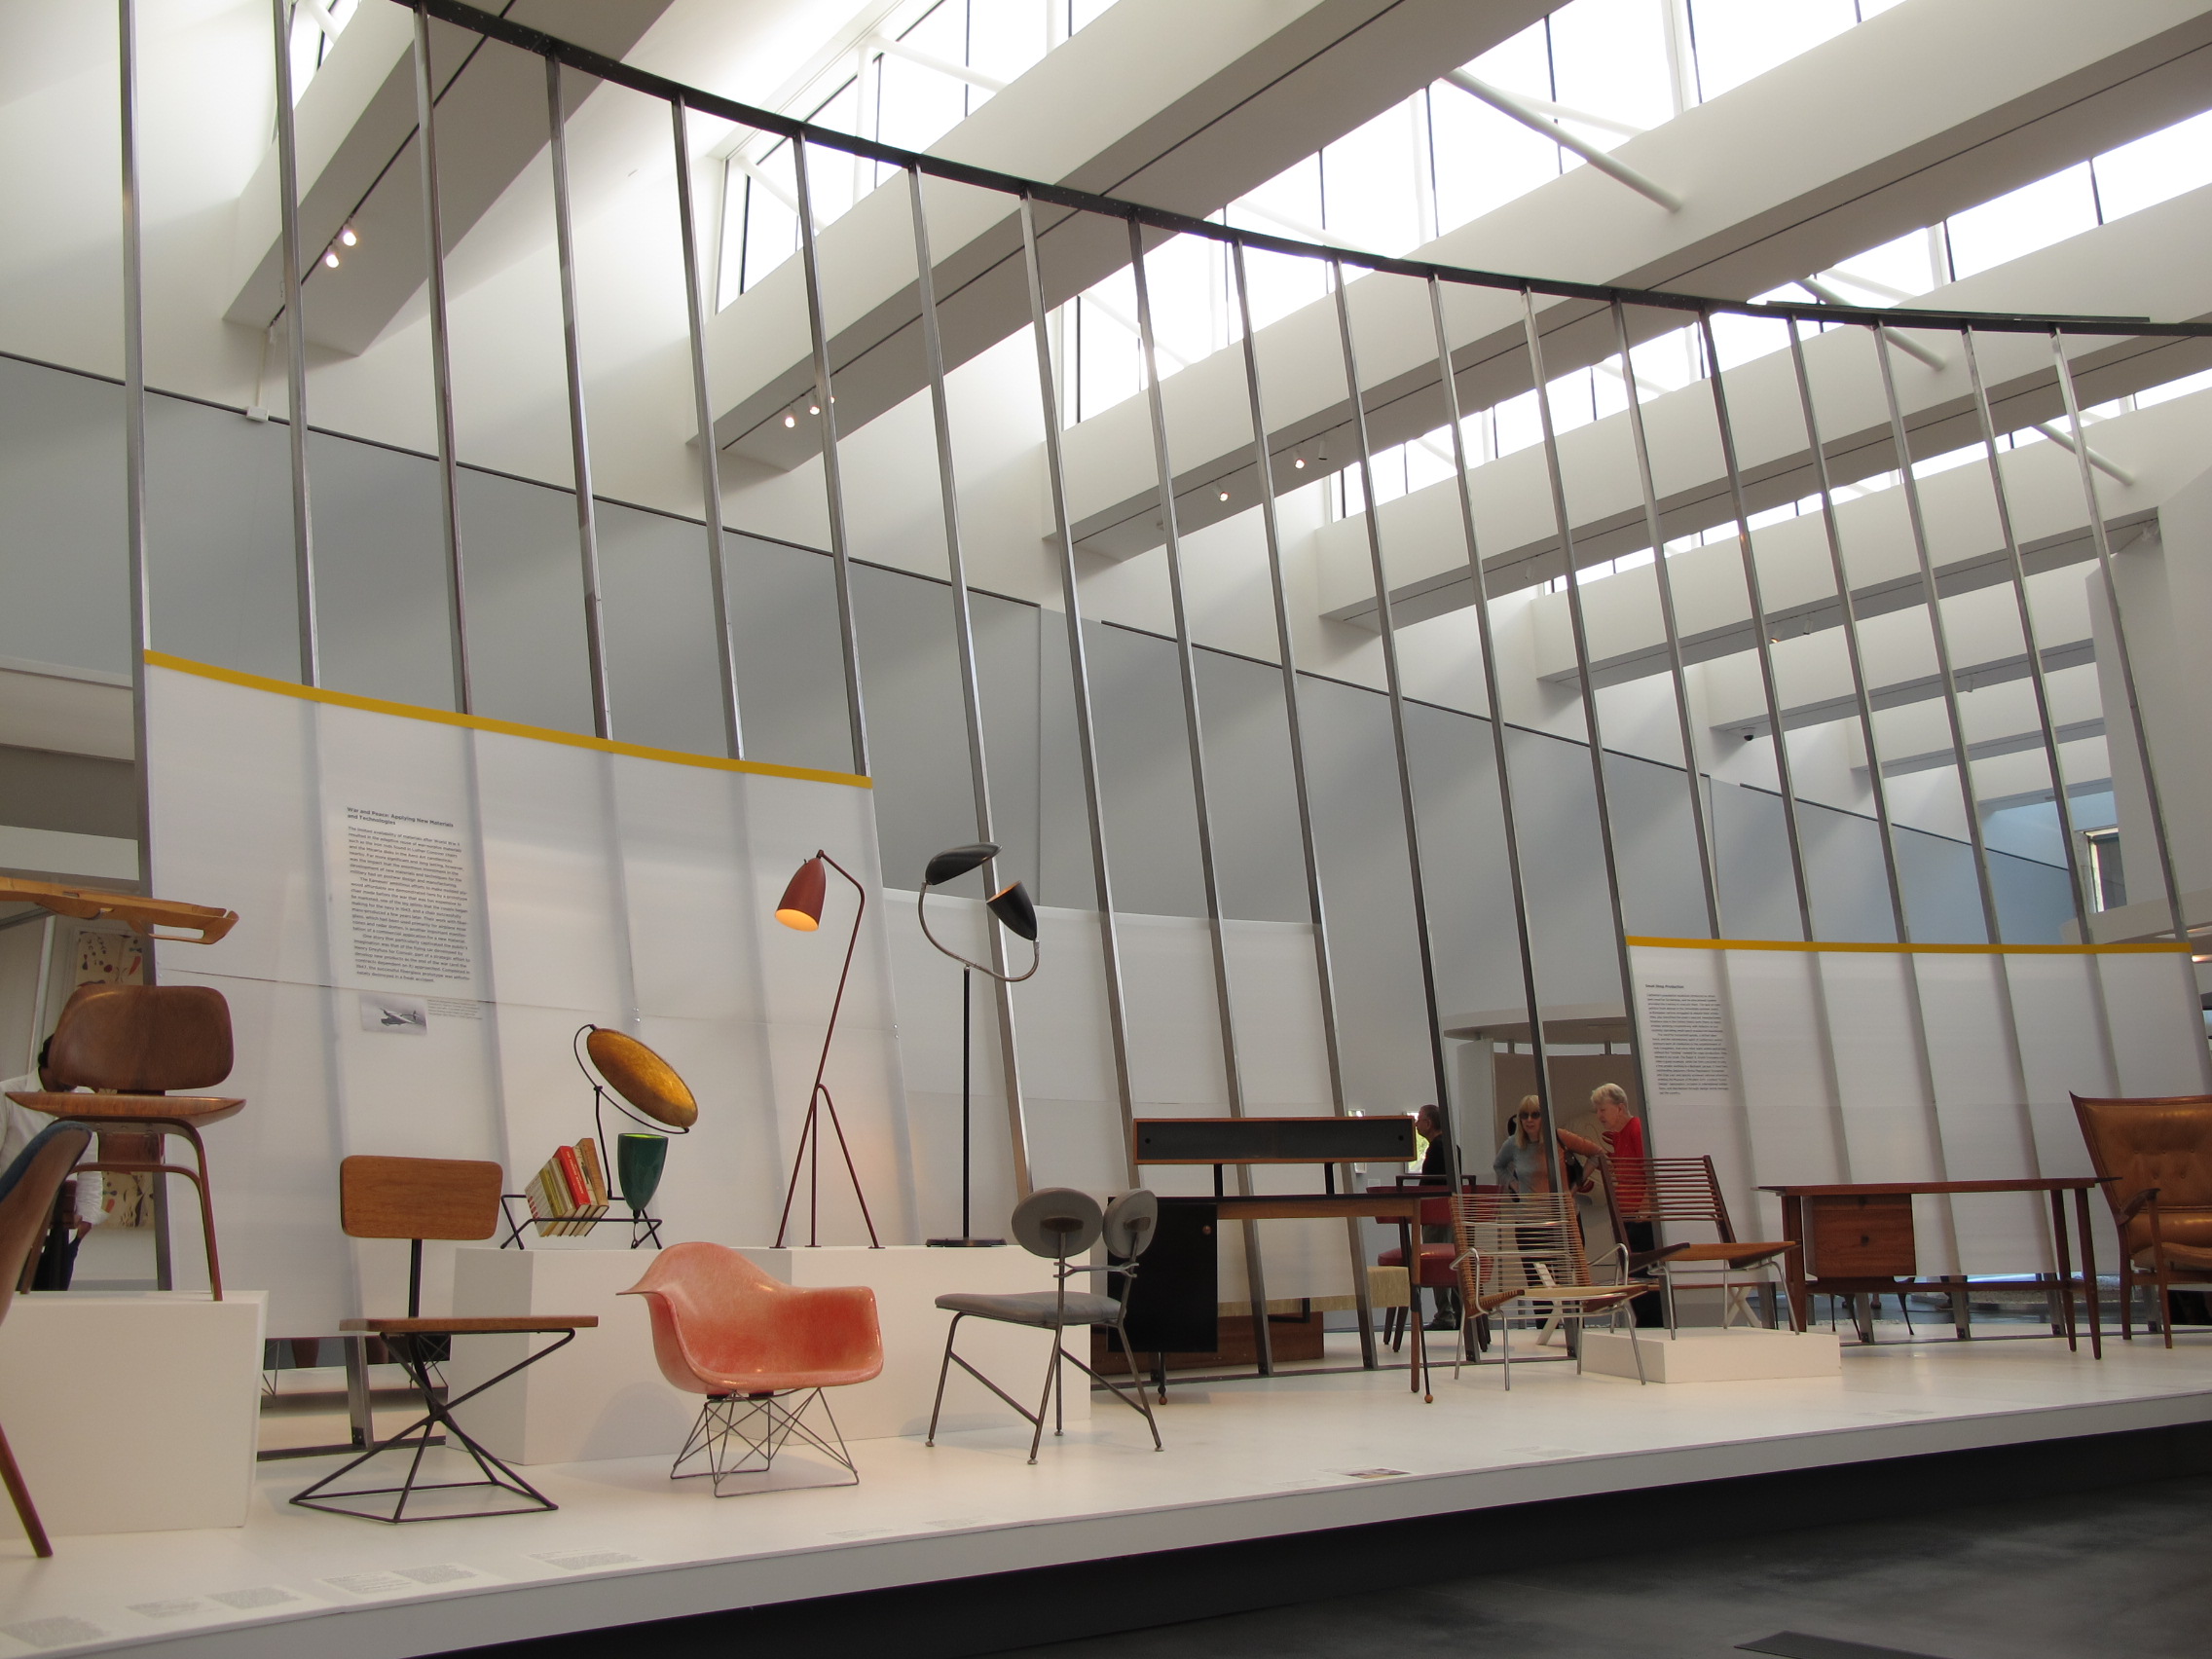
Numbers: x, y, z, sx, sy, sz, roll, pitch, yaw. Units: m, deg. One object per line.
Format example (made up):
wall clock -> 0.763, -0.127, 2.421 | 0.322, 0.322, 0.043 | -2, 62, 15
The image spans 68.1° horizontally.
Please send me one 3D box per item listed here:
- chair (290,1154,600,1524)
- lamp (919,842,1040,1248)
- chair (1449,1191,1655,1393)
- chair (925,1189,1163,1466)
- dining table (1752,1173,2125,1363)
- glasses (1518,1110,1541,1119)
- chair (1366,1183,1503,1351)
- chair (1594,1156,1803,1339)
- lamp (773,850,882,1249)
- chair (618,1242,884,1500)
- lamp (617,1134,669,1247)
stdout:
chair -> -2.356, 1.830, 5.996 | 0.966, 1.373, 0.982 | 9, -24, -32
lamp -> -0.602, 0.979, 8.369 | 0.647, 2.149, 2.339 | -4, -13, -3
chair -> 2.151, 2.232, 8.085 | 0.866, 0.849, 0.723 | 5, -12, -28
chair -> -0.218, 1.903, 6.354 | 0.696, 0.932, 0.754 | -14, -21, 39
dining table -> 4.695, 2.473, 9.394 | 1.442, 0.716, 0.807 | 0, -26, 1
glasses -> 2.568, 1.741, 10.045 | 0.111, 0.053, 0.139 | -2, -1, 5
chair -> 1.992, 2.799, 10.407 | 0.732, 0.985, 0.654 | -3, -11, 39
chair -> 3.142, 2.199, 8.939 | 0.803, 0.929, 0.830 | -1, -16, 3
lamp -> -1.288, 0.941, 7.593 | 0.476, 1.879, 0.663 | -3, -13, -9
chair -> -1.198, 1.817, 5.639 | 0.825, 0.738, 0.828 | -7, -14, 26
lamp -> -1.865, 1.463, 6.706 | 0.189, 0.454, 0.841 | -1, -13, -16
